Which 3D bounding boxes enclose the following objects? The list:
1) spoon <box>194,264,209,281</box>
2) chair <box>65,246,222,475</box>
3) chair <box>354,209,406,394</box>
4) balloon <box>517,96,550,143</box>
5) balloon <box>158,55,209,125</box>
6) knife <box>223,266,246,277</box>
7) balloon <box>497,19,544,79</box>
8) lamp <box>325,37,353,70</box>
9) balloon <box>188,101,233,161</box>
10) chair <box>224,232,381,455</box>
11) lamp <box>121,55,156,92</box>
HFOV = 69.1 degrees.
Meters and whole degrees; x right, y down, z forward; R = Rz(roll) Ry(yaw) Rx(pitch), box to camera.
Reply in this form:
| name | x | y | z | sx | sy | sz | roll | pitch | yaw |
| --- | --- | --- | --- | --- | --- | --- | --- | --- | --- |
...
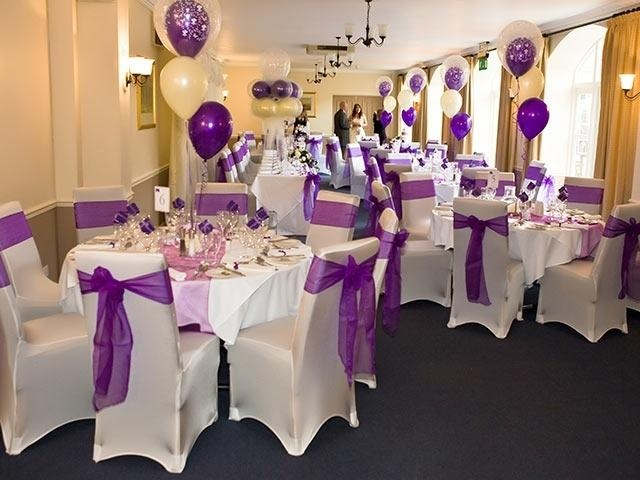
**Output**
| name | x | y | z | sx | sy | sz | roll | pitch | yaw |
| --- | --- | --- | --- | --- | --- | --- | --- | --- | --- |
| spoon | -0.742 | 0.196 | 2.934 | 0.054 | 0.051 | 0.157 | -3 | 24 | -4 |
| chair | -0.917 | 0.653 | 2.629 | 0.747 | 1.264 | 0.423 | -9 | 16 | -33 |
| chair | 0.458 | 0.425 | 3.716 | 0.338 | 1.352 | 0.324 | 13 | 5 | 2 |
| balloon | 2.496 | -1.430 | 5.561 | 0.360 | 0.620 | 0.426 | 2 | 2 | 10 |
| balloon | -0.994 | -1.146 | 3.500 | 0.302 | 0.462 | 0.319 | 3 | 14 | 9 |
| knife | -0.542 | 0.197 | 2.938 | 0.058 | 0.025 | 0.221 | -12 | 21 | -35 |
| balloon | 2.352 | -2.262 | 5.477 | 0.469 | 0.737 | 0.540 | 8 | 24 | 30 |
| lamp | 0.493 | -4.874 | 11.960 | 0.685 | 0.859 | 0.710 | 8 | 16 | 37 |
| balloon | -0.866 | -0.878 | 3.614 | 0.295 | 0.501 | 0.346 | 2 | 11 | -6 |
| chair | -0.119 | 0.583 | 3.041 | 0.723 | 1.326 | 0.892 | -9 | 19 | -41 |
| lamp | -2.214 | -2.040 | 5.650 | 0.264 | 0.323 | 0.345 | -4 | 14 | 12 |
